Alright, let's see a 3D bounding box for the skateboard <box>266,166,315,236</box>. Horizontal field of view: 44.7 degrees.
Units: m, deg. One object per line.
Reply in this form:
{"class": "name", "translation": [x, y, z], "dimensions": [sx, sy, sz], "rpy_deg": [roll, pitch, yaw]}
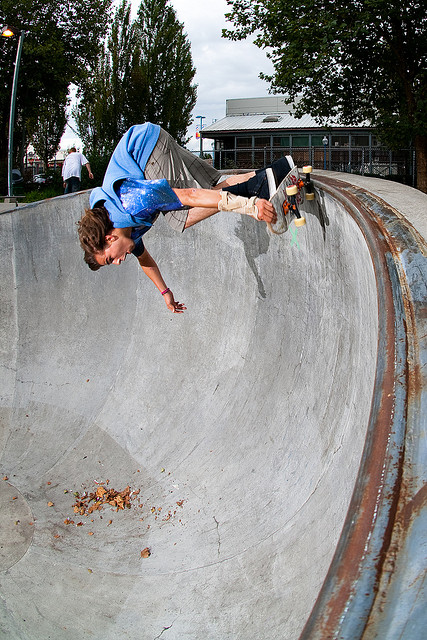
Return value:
{"class": "skateboard", "translation": [0.437, -0.680, 2.901], "dimensions": [0.106, 0.176, 0.611], "rpy_deg": [-7, 31, 22]}

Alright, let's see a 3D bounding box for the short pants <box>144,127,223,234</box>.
{"class": "short pants", "translation": [-0.225, -0.902, 3.022], "dimensions": [0.300, 0.386, 0.236], "rpy_deg": [14, 37, 34]}

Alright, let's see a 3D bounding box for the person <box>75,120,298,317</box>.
{"class": "person", "translation": [-0.131, -0.574, 3.182], "dimensions": [0.933, 1.215, 1.650], "rpy_deg": [-1, 7, 3]}
